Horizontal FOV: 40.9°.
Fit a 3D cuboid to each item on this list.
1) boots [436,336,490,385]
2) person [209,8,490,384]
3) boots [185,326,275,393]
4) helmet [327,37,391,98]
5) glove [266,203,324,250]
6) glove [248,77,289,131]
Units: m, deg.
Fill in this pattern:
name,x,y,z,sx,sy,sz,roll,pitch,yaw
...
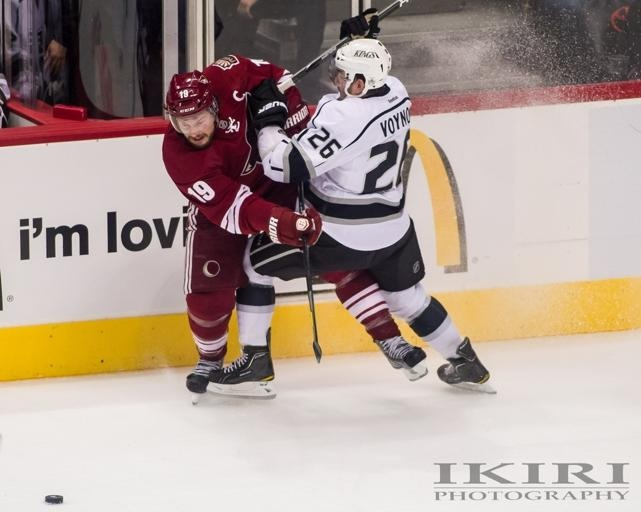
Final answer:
name,x,y,z,sx,sy,sz,roll,pitch,yaw
boots,0.574,0.451,3.662,0.244,0.201,0.117,-4,25,39
person,0.111,-0.122,3.445,1.080,1.447,0.349,-6,15,-16
boots,-0.345,0.450,3.729,0.498,0.342,0.182,3,4,3
helmet,0.154,-0.723,3.289,0.208,0.211,0.165,4,16,19
glove,-0.094,-0.113,3.212,0.186,0.133,0.088,-7,41,26
glove,-0.201,-0.583,3.318,0.160,0.201,0.074,-3,-9,-10
